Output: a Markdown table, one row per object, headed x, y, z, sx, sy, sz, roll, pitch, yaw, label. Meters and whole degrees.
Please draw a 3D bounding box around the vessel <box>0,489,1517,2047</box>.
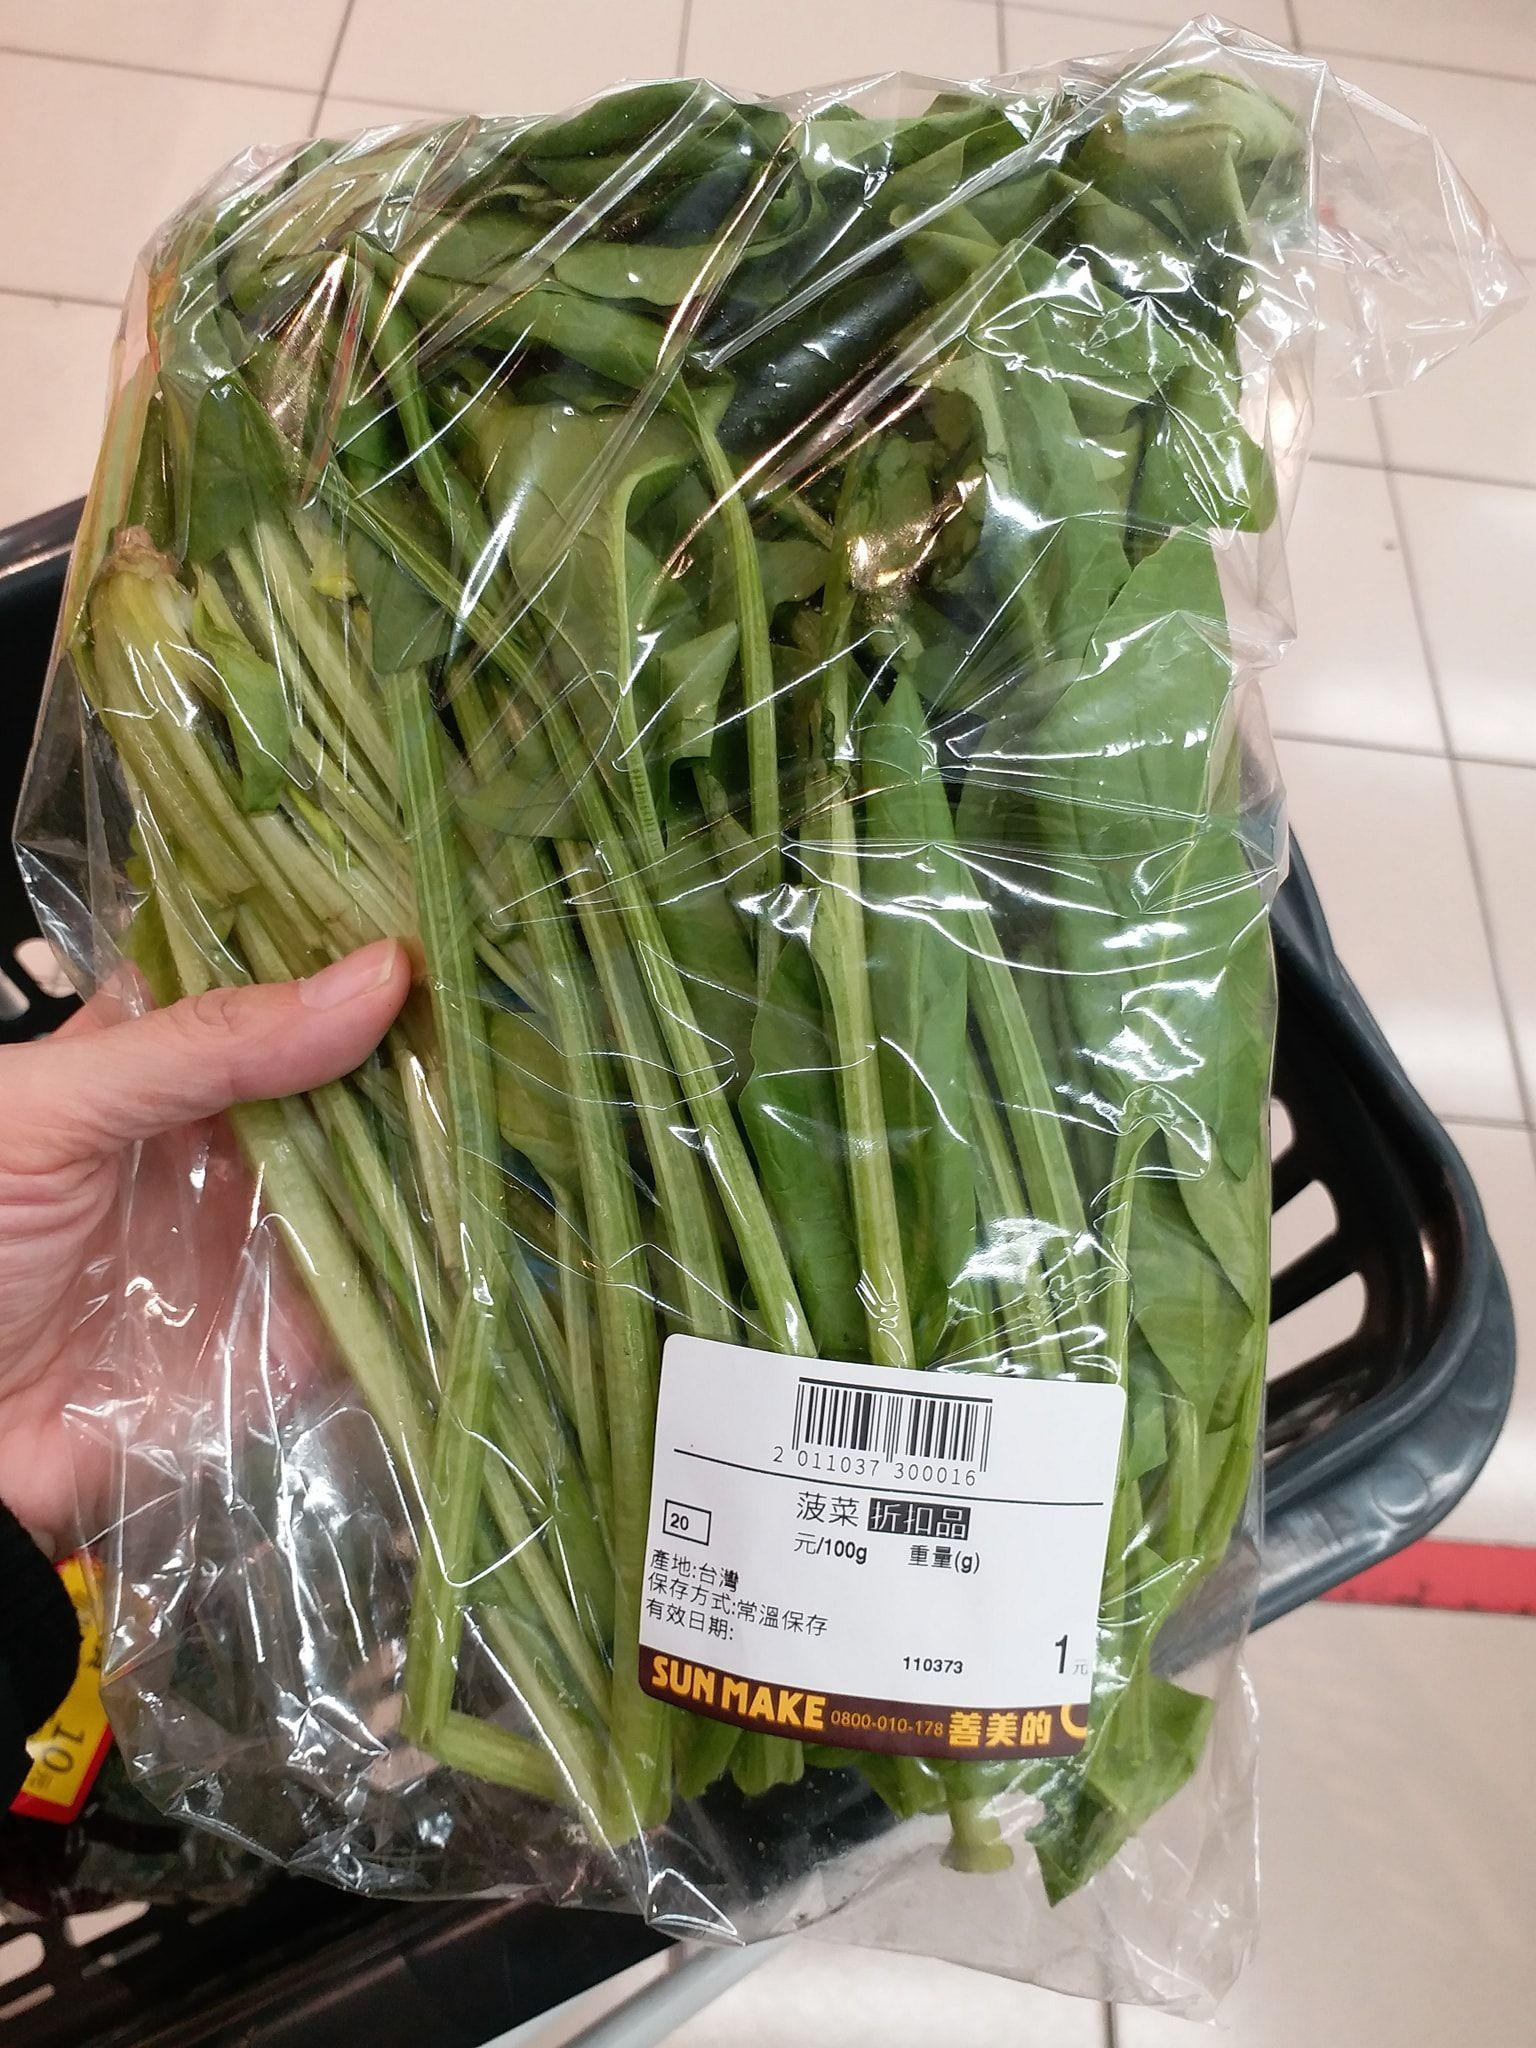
| x | y | z | sx | sy | sz | roll | pitch | yaw | label |
| --- | --- | --- | --- | --- | --- | --- | --- | --- | --- |
| -0.004 | 0.144 | 0.883 | 0.739 | 0.584 | 0.262 | -23 | 2 | 14 | vessel |
